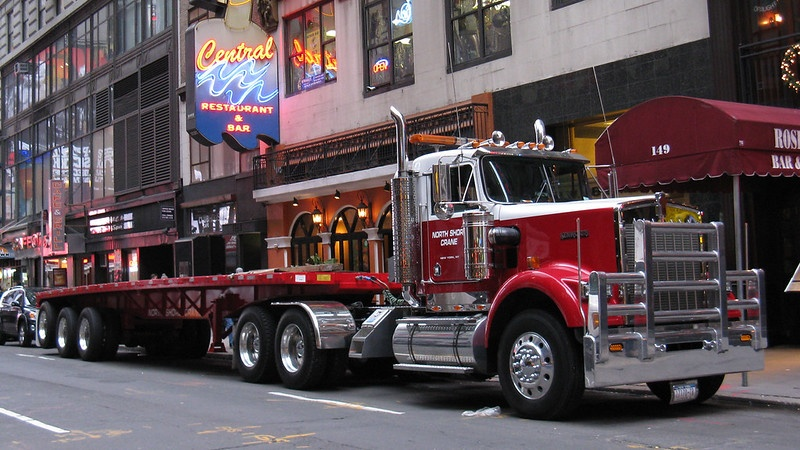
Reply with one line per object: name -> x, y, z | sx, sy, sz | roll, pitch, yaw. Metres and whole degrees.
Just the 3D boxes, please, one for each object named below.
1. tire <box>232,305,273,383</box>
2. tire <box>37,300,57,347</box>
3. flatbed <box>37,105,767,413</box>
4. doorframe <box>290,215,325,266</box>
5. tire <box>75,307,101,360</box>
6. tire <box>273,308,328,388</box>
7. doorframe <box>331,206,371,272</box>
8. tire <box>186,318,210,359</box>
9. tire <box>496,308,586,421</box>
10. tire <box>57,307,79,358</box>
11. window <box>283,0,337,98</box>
tire -> -3.843, 3.125, 21.440 | 0.751, 2.342, 2.077 | 0, 0, -39
tire -> -12.217, 3.498, 28.516 | 0.539, 1.619, 1.601 | 4, -7, -41
flatbed -> -2.640, 1.870, 24.753 | 6.550, 7.808, 23.477 | 4, -8, -40
doorframe -> -3.685, 0.595, 32.844 | 0.152, 2.522, 2.079 | 0, -1, -38
tire -> -9.938, 3.496, 26.084 | 0.533, 1.868, 1.679 | 4, -2, -36
tire -> -2.442, 3.089, 20.423 | 0.708, 2.191, 1.940 | -2, 4, -37
doorframe -> -1.867, 0.558, 31.859 | 0.184, 3.298, 2.531 | -2, 1, -38
tire -> -6.499, 3.582, 26.164 | 0.422, 1.339, 1.316 | 2, 11, -29
tire -> 3.035, 2.957, 17.332 | 2.308, 2.668, 0.871 | -3, -4, 39
tire -> -10.907, 3.557, 26.855 | 0.570, 1.631, 1.609 | 4, -1, -35
window -> -3.660, -7.294, 33.996 | 0.143, 4.211, 3.986 | 5, -11, -43
